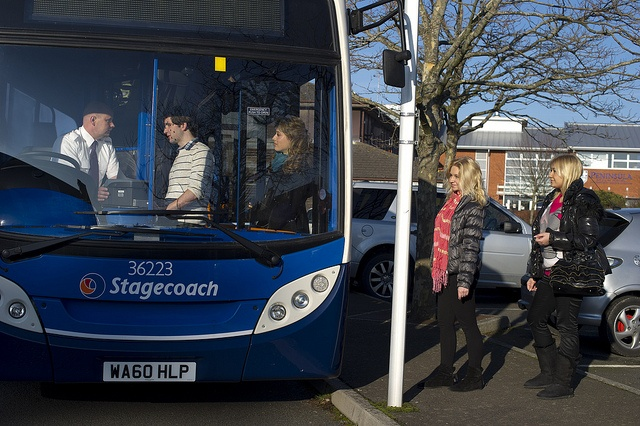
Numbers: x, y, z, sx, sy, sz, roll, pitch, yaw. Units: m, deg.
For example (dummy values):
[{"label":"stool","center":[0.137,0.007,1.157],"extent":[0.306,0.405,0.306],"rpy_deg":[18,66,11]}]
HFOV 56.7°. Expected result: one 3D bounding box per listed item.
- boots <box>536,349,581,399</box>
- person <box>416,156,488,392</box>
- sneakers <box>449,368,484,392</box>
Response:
[{"label":"boots","center":[2.579,1.781,6.558],"extent":[0.564,0.601,0.332],"rpy_deg":[0,0,9]},{"label":"person","center":[1.493,0.663,6.540],"extent":[0.591,2.564,0.432],"rpy_deg":[2,4,30]},{"label":"sneakers","center":[1.640,1.833,6.540],"extent":[0.462,0.283,0.175],"rpy_deg":[0,1,-4]}]
